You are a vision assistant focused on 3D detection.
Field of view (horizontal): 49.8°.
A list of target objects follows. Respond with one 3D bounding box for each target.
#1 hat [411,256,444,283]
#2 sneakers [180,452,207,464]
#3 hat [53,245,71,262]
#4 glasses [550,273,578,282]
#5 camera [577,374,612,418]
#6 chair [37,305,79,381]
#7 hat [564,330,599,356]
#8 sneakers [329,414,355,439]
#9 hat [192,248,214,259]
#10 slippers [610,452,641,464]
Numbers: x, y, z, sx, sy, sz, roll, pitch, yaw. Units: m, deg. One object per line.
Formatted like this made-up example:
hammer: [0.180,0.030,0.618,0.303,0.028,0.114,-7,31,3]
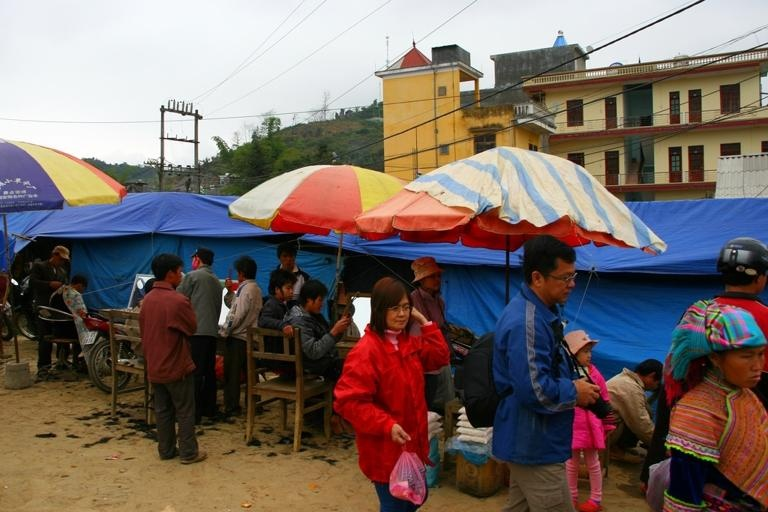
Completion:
hat: [0.528,0.144,10.824,0.354,0.180,0.337,-24,0,8]
sneakers: [-2.435,2.593,10.697,0.127,0.135,0.348,10,12,42]
hat: [-5.775,-0.074,14.721,0.396,0.187,0.276,12,-3,3]
glasses: [1.809,0.207,8.448,0.173,0.049,0.172,-3,2,-31]
camera: [2.133,1.403,8.431,0.164,0.470,0.509,-27,-12,26]
chair: [-5.340,1.434,13.904,0.760,0.820,0.734,14,-14,-12]
hat: [2.258,1.075,9.804,0.405,0.151,0.360,-15,2,40]
sneakers: [-0.614,2.377,11.535,0.478,0.196,0.187,-6,-1,44]
hat: [-2.616,-0.047,11.935,0.287,0.103,0.197,-1,-2,26]
slippers: [3.185,2.688,11.036,0.454,0.160,0.147,-2,2,8]
